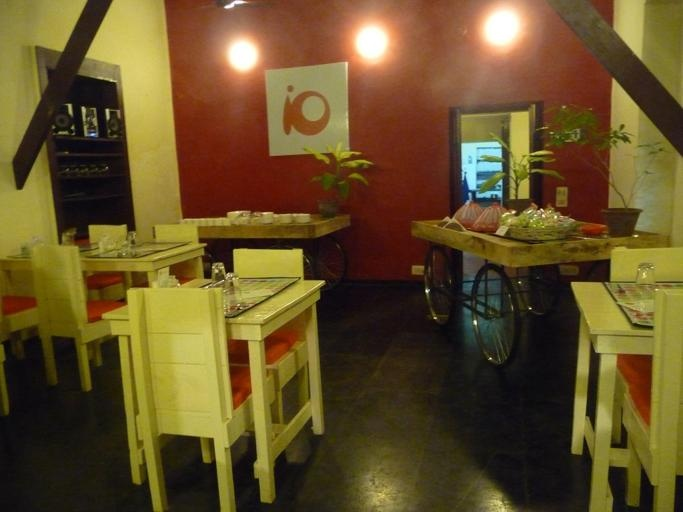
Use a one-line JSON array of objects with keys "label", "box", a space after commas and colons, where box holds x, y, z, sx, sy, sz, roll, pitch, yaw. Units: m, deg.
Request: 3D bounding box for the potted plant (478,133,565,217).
[{"label": "potted plant", "box": [1.534, -0.675, 4.859, 0.623, 0.615, 0.780, 7, -9, -43]}]

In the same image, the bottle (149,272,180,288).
[{"label": "bottle", "box": [-0.974, 0.142, 3.064, 0.139, 0.034, 0.149, 0, 9, 0]}]

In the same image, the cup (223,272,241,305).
[{"label": "cup", "box": [-0.628, 0.168, 3.189, 0.076, 0.151, 0.400, -6, 6, -10]}]

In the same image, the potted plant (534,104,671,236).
[{"label": "potted plant", "box": [2.108, -0.676, 4.337, 1.039, 1.035, 0.713, -4, -10, -11]}]

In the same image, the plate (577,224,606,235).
[{"label": "plate", "box": [1.816, -0.188, 4.063, 0.125, 0.031, 0.136, 0, 12, 14]}]

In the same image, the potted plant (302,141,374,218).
[{"label": "potted plant", "box": [-0.005, -0.884, 6.443, 0.747, 0.810, 0.692, -5, 6, -3]}]
